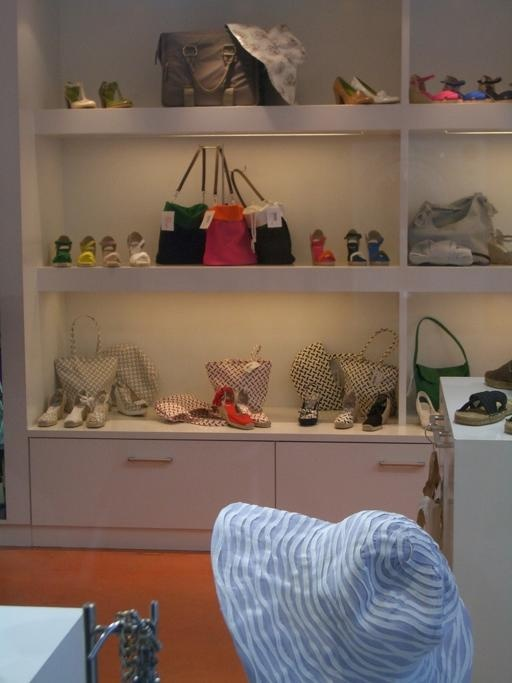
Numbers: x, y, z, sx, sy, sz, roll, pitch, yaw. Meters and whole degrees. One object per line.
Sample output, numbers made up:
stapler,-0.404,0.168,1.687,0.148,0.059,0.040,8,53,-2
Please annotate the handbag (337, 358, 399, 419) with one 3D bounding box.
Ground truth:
handbag,0.496,0.194,2.626,0.200,0.263,0.125,3,25,7

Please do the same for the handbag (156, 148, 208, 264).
handbag,-0.287,-0.572,2.543,0.215,0.520,0.111,1,28,-23

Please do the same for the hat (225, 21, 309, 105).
hat,0.039,-1.098,2.372,0.308,0.346,0.147,0,3,-4

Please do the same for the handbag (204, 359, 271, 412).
handbag,-0.067,0.177,2.667,0.267,0.296,0.179,-3,16,-19

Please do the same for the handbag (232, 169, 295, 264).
handbag,0.039,-0.533,2.617,0.177,0.494,0.187,-11,3,-27

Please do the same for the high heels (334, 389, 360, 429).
high heels,0.377,0.291,2.514,0.059,0.096,0.208,-2,1,13

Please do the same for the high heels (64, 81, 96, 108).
high heels,-0.710,-0.978,2.412,0.158,0.111,0.056,2,4,20

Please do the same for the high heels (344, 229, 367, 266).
high heels,0.429,-0.406,2.597,0.090,0.168,0.303,1,4,8

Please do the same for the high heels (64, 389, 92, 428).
high heels,-0.735,0.280,2.515,0.056,0.084,0.200,3,18,6

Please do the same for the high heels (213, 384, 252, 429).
high heels,-0.103,0.270,2.493,0.083,0.128,0.253,-5,22,-34

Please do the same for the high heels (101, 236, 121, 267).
high heels,-0.612,-0.374,2.567,0.067,0.102,0.239,-2,12,-5

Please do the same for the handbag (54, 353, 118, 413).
handbag,-0.748,0.125,2.701,0.289,0.328,0.188,5,23,-3

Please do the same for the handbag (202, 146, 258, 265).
handbag,-0.110,-0.580,2.579,0.219,0.537,0.369,0,3,0

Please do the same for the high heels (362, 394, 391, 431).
high heels,0.495,0.285,2.458,0.066,0.105,0.240,2,10,19

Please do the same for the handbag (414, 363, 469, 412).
handbag,0.642,0.159,2.111,0.178,0.201,0.058,0,-7,1

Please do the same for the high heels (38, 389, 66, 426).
high heels,-0.858,0.275,2.540,0.096,0.127,0.232,0,4,-13
